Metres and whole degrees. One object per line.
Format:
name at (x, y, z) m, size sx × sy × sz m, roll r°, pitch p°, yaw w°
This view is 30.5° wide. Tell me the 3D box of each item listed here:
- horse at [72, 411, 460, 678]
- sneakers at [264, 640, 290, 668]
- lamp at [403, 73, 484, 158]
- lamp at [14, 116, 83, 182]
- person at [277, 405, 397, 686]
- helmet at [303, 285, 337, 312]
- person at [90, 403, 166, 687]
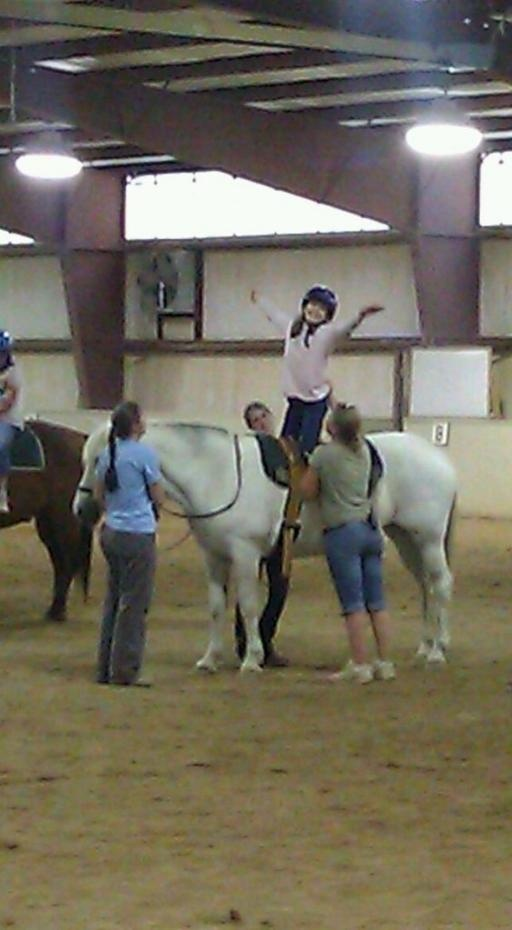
horse at (0.082, 0.329, 3.918) m, size 1.654 × 1.004 × 0.427 m, roll 0°, pitch 3°, yaw -14°
sneakers at (0.076, 0.793, 3.856) m, size 0.048 × 0.089 × 0.168 m, roll -10°, pitch -25°, yaw 29°
lamp at (0.823, -1.522, 4.149) m, size 0.300 × 0.263 × 0.446 m, roll 2°, pitch 5°, yaw 9°
lamp at (-1.039, -1.568, 4.766) m, size 0.283 × 0.201 × 0.441 m, roll 1°, pitch 4°, yaw -6°
person at (0.362, 0.317, 3.581) m, size 0.392 × 1.092 × 0.544 m, roll 0°, pitch 5°, yaw -11°
helmet at (0.269, -0.702, 3.966) m, size 0.102 × 0.118 × 0.138 m, roll -4°, pitch -19°, yaw 32°
person at (-0.462, 0.310, 3.400) m, size 0.237 × 1.069 × 0.319 m, roll 0°, pitch 5°, yaw -12°
